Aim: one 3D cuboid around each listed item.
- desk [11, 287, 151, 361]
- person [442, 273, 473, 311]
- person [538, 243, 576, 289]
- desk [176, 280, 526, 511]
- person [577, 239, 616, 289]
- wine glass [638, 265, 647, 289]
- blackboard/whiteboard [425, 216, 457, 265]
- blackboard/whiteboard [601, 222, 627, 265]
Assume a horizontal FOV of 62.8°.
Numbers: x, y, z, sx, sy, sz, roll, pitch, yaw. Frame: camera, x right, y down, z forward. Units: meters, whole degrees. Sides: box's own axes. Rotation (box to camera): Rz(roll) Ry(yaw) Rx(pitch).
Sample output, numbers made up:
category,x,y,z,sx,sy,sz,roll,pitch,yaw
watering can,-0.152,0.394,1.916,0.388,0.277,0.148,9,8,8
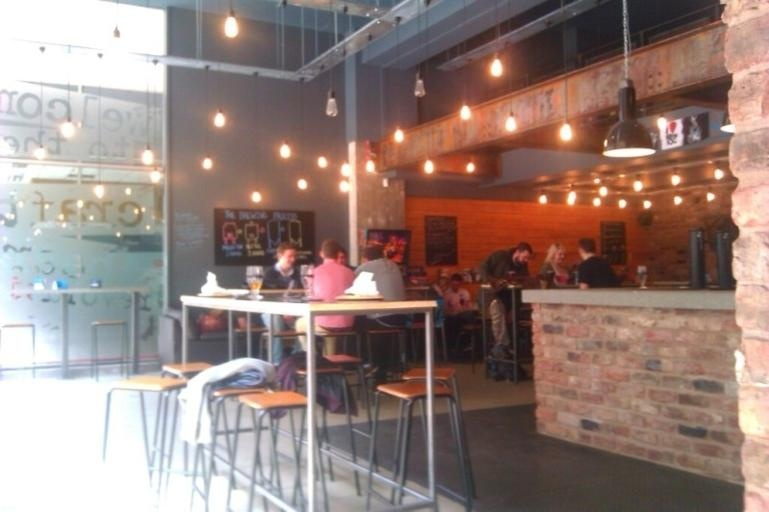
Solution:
category,x,y,z,sx,sy,sz,roll,pitch,yaw
desk,-4.545,0.841,9.510,2.189,1.518,1.121,0,1,-22
person,1.241,0.625,10.817,0.509,0.712,0.429,2,-19,-19
person,2.612,0.155,9.621,0.408,0.634,0.739,-4,-6,30
desk,-0.505,1.160,5.161,1.344,1.642,1.804,-2,-1,-29
person,2.602,0.069,7.694,0.441,0.625,0.890,-3,-1,19
wine glass,2.836,0.225,6.925,0.085,0.256,0.521,-3,-1,21
blackboard/whiteboard,1.020,-0.265,11.610,0.862,1.114,0.108,-2,2,-26
blackboard/whiteboard,4.901,-0.260,13.501,0.870,1.157,0.102,6,-10,-38
